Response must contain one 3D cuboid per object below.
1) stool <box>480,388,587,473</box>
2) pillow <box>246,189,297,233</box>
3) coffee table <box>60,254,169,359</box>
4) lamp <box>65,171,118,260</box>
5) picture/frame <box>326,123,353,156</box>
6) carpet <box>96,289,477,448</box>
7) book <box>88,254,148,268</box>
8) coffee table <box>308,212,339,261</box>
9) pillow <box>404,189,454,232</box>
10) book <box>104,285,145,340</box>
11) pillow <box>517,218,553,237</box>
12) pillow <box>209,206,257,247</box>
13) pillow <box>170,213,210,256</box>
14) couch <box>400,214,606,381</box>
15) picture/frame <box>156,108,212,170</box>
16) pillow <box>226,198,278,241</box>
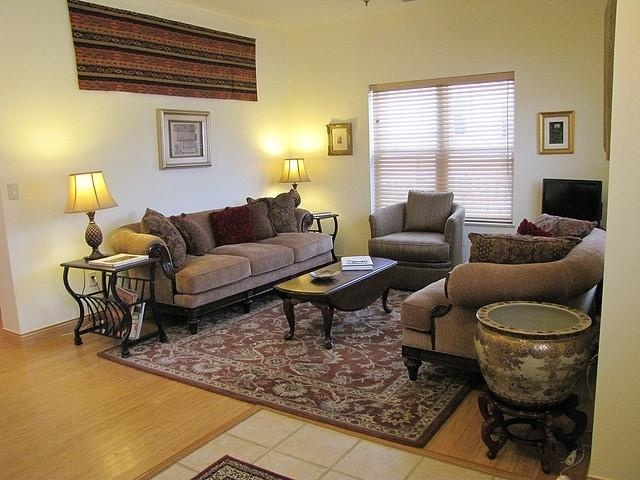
[{"bbox_3d":[1.309,1.048,2.716,0.510,0.350,0.506,2,4,37],"label":"stool"},{"bbox_3d":[-0.593,-0.384,6.248,0.589,0.540,0.175,-14,5,-28],"label":"pillow"},{"bbox_3d":[-2.023,0.620,4.495,0.899,0.733,0.623,1,4,37],"label":"coffee table"},{"bbox_3d":[-2.288,-0.249,4.521,0.479,0.824,0.405,6,16,36],"label":"lamp"},{"bbox_3d":[0.308,-1.479,6.684,0.546,0.526,0.080,2,8,28],"label":"picture/frame"},{"bbox_3d":[-0.399,0.867,4.512,2.327,0.019,2.121,-24,9,-27],"label":"carpet"},{"bbox_3d":[-1.899,0.185,4.284,0.471,0.050,0.397,5,13,36],"label":"book"},{"bbox_3d":[0.120,-0.190,6.818,0.391,0.339,0.312,-20,43,5],"label":"coffee table"},{"bbox_3d":[1.426,-0.370,5.929,0.566,0.444,0.286,4,14,31],"label":"pillow"},{"bbox_3d":[-1.808,0.667,4.346,0.401,0.477,0.161,5,5,34],"label":"book"},{"bbox_3d":[1.615,-0.099,3.471,0.200,0.081,0.187,12,16,-3],"label":"pillow"},{"bbox_3d":[-1.047,-0.167,5.522,0.539,0.457,0.154,-13,-2,-38],"label":"pillow"},{"bbox_3d":[-1.394,-0.060,5.042,0.143,0.428,0.453,-28,2,23],"label":"pillow"},{"bbox_3d":[1.251,0.430,3.222,1.106,0.758,1.368,7,13,38],"label":"couch"},{"bbox_3d":[-1.628,-1.214,5.554,0.053,0.662,0.728,16,21,34],"label":"picture/frame"},{"bbox_3d":[-0.866,-0.249,5.933,0.157,0.455,0.527,-17,-3,35],"label":"pillow"}]
